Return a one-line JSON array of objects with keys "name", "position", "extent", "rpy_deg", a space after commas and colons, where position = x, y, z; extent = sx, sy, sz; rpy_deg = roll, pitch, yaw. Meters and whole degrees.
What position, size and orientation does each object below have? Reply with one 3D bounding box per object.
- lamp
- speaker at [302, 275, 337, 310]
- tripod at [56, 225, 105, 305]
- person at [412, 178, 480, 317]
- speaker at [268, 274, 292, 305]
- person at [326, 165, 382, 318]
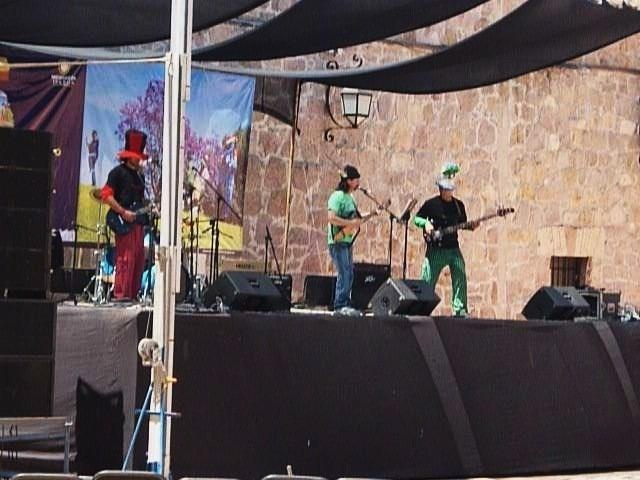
[{"name": "lamp", "position": [0.365, -1.790, 16.602], "extent": [0.535, 1.136, 1.017], "rpy_deg": [1, -5, -12]}, {"name": "speaker", "position": [-0.017, 0.568, 15.267], "extent": [0.385, 0.516, 0.272], "rpy_deg": [1, 6, -24]}, {"name": "tripod", "position": [-2.495, 0.276, 14.166], "extent": [0.559, 0.869, 0.052], "rpy_deg": [2, 0, -28]}, {"name": "person", "position": [1.393, 0.033, 15.864], "extent": [0.532, 1.875, 0.537], "rpy_deg": [-1, 4, -38]}, {"name": "speaker", "position": [-0.386, 0.545, 14.432], "extent": [0.226, 0.500, 0.247], "rpy_deg": [0, 0, -39]}, {"name": "person", "position": [0.248, -0.041, 14.629], "extent": [0.371, 1.876, 0.379], "rpy_deg": [-1, 3, -21]}]
